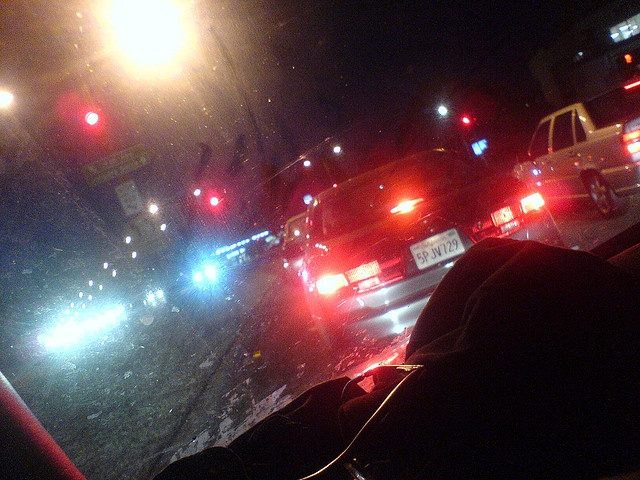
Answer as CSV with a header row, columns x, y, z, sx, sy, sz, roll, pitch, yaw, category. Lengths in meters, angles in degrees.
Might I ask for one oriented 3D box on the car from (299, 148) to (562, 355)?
x,y,z,sx,sy,sz,roll,pitch,yaw,category
0.938,0.350,4.489,1.327,0.988,3.024,-22,19,9,car
